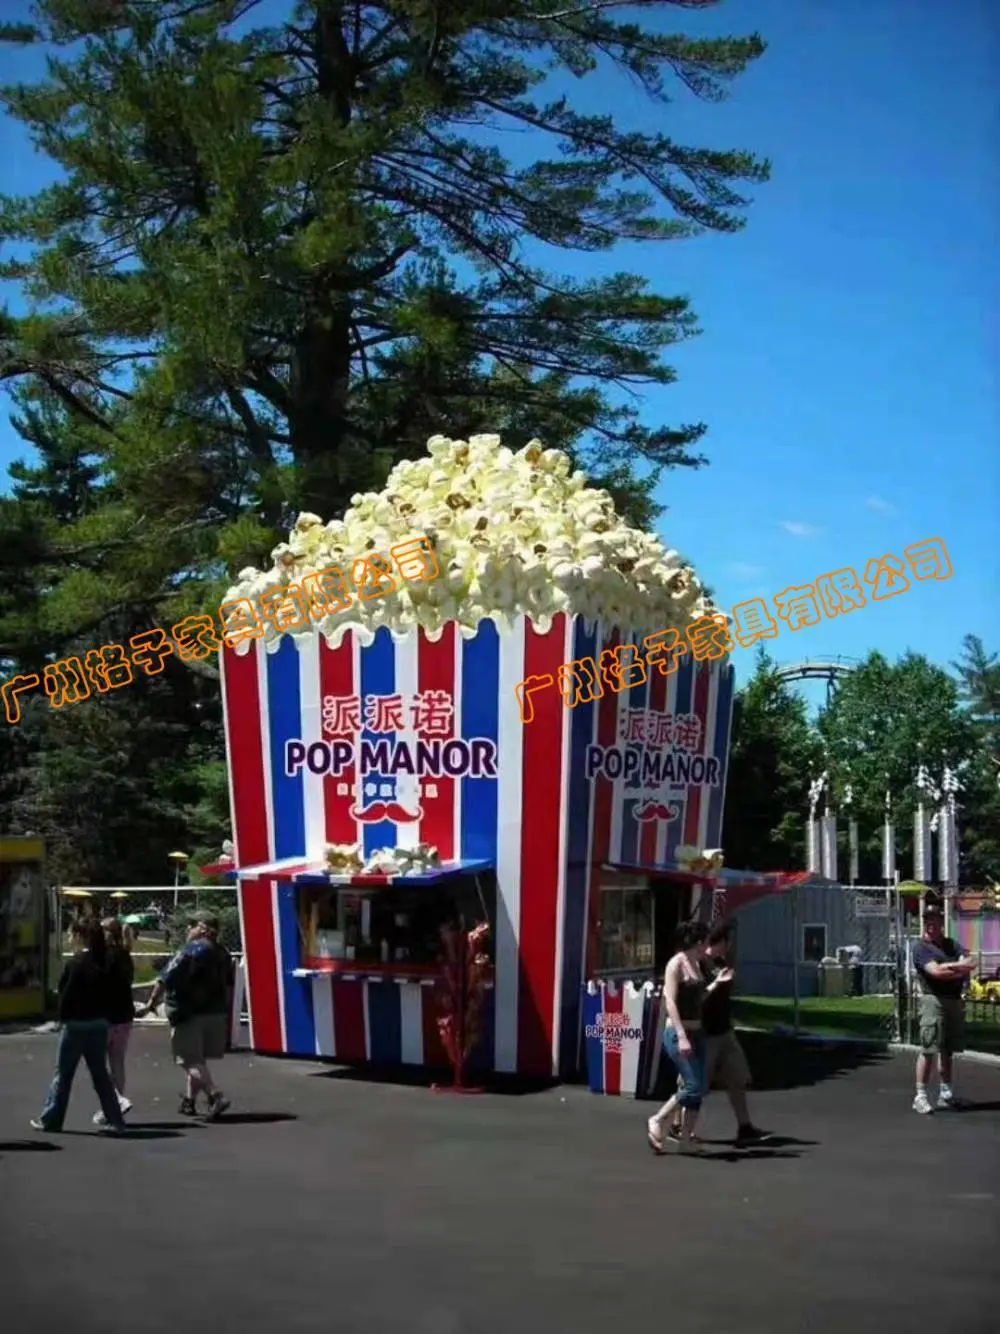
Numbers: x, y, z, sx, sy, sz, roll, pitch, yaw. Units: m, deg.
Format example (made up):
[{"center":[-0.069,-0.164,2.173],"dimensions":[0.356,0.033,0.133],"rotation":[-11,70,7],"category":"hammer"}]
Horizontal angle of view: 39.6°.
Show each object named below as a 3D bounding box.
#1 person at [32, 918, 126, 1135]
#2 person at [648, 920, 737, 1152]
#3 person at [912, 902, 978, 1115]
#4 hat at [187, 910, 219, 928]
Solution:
[{"center":[-2.642,2.244,8.646],"dimensions":[0.547,1.348,0.798],"rotation":[1,-5,-17],"category":"person"},{"center":[1.045,2.170,8.072],"dimensions":[0.445,1.324,0.581],"rotation":[-3,-5,33],"category":"person"},{"center":[3.182,2.466,9.981],"dimensions":[0.415,1.452,0.510],"rotation":[-2,-5,16],"category":"person"},{"center":[-2.050,1.716,9.497],"dimensions":[0.157,0.077,0.108],"rotation":[6,0,19],"category":"hat"}]
